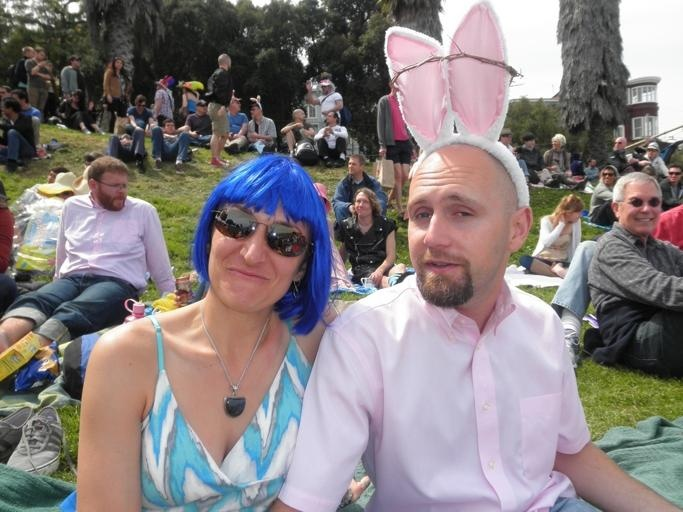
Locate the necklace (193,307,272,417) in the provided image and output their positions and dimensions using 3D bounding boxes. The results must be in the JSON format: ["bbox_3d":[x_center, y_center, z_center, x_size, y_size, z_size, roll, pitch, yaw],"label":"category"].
[{"bbox_3d":[-0.712,0.677,4.720,0.430,0.073,0.950,-1,46,-6],"label":"necklace"}]

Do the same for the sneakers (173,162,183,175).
[{"bbox_3d":[-3.557,-1.913,15.461,0.120,0.321,0.290,1,-7,-16],"label":"sneakers"}]

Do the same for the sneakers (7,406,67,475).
[{"bbox_3d":[-2.480,1.543,5.815,0.243,0.253,0.593,10,28,-19],"label":"sneakers"}]

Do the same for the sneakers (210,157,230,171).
[{"bbox_3d":[-2.762,-2.081,16.110,0.568,0.290,0.208,3,15,41],"label":"sneakers"}]

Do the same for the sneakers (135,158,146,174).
[{"bbox_3d":[-4.325,-1.955,15.301,0.136,0.285,0.477,-12,35,2],"label":"sneakers"}]

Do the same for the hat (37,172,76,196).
[{"bbox_3d":[-4.305,-1.060,10.808,0.484,0.244,0.551,15,11,11],"label":"hat"}]
